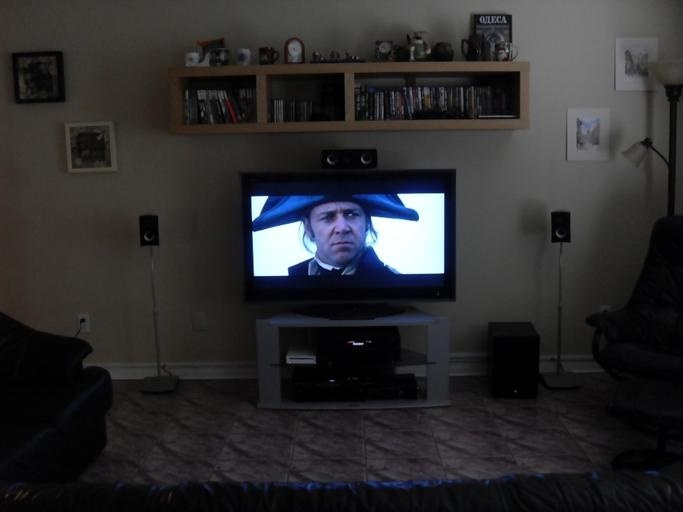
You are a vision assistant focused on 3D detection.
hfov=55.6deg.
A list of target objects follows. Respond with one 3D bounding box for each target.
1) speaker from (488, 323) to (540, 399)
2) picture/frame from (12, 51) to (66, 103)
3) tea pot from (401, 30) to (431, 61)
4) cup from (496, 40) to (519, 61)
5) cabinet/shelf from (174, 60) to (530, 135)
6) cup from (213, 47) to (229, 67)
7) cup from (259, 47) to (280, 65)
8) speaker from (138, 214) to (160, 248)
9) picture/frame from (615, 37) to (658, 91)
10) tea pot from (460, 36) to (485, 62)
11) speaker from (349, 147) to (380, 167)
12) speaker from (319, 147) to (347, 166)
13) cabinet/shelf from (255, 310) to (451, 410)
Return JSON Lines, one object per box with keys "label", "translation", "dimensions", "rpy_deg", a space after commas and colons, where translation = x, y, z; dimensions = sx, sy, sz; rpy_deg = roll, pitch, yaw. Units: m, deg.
{"label": "speaker", "translation": [1.142, 0.749, 4.638], "dimensions": [0.348, 0.506, 0.477], "rpy_deg": [0, 8, 9]}
{"label": "picture/frame", "translation": [-2.243, -1.341, 4.810], "dimensions": [0.348, 0.374, 0.026], "rpy_deg": [1, 6, -2]}
{"label": "tea pot", "translation": [0.541, -1.488, 4.603], "dimensions": [0.219, 0.222, 0.158], "rpy_deg": [13, 20, 39]}
{"label": "cup", "translation": [1.186, -1.462, 4.641], "dimensions": [0.096, 0.132, 0.364], "rpy_deg": [6, 16, 25]}
{"label": "cabinet/shelf", "translation": [0.044, -1.125, 4.644], "dimensions": [2.567, 0.490, 0.368], "rpy_deg": [-1, 14, 1]}
{"label": "cup", "translation": [-0.865, -1.404, 4.586], "dimensions": [0.109, 0.120, 0.114], "rpy_deg": [0, 9, 0]}
{"label": "cup", "translation": [-0.525, -1.431, 4.655], "dimensions": [0.107, 0.124, 0.173], "rpy_deg": [12, 17, 43]}
{"label": "speaker", "translation": [-1.398, -0.182, 4.711], "dimensions": [0.200, 0.305, 0.194], "rpy_deg": [0, 4, -13]}
{"label": "picture/frame", "translation": [2.168, -1.425, 4.752], "dimensions": [0.352, 0.492, 0.024], "rpy_deg": [0, 3, 3]}
{"label": "tea pot", "translation": [0.927, -1.489, 4.641], "dimensions": [0.135, 0.187, 0.266], "rpy_deg": [-6, 15, -19]}
{"label": "speaker", "translation": [0.127, -0.710, 4.712], "dimensions": [0.256, 0.137, 0.173], "rpy_deg": [1, 14, 7]}
{"label": "speaker", "translation": [-0.068, -0.703, 4.670], "dimensions": [0.187, 0.124, 0.092], "rpy_deg": [2, 14, 12]}
{"label": "cabinet/shelf", "translation": [0.275, 0.637, 4.755], "dimensions": [1.047, 0.508, 0.741], "rpy_deg": [0, 6, 1]}
